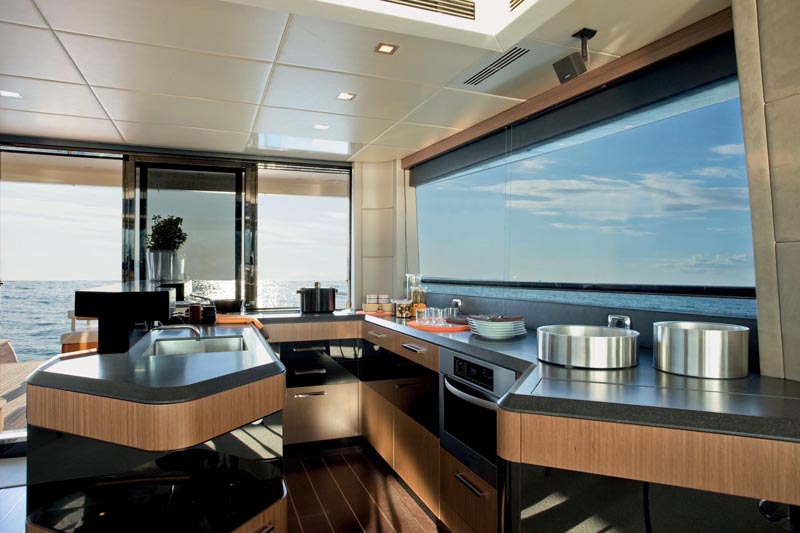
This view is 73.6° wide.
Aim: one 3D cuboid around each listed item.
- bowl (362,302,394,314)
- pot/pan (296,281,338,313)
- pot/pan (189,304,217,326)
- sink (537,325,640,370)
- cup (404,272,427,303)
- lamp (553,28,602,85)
[{"bbox_3d":[-0.209,0.412,5.153,0.293,0.104,0.263,-1,0,-4],"label":"bowl"},{"bbox_3d":[-0.811,0.316,5.231,0.375,0.276,0.260,0,-2,-18],"label":"pot/pan"},{"bbox_3d":[-1.627,0.399,4.393,0.195,0.185,0.153,-1,0,-26],"label":"pot/pan"},{"bbox_3d":[1.050,0.443,2.974,0.501,0.201,0.465,-1,0,29],"label":"sink"},{"bbox_3d":[0.145,0.214,5.124,0.206,0.265,0.377,-1,0,2],"label":"cup"},{"bbox_3d":[1.059,-1.224,3.110,0.144,0.229,0.235,-41,28,-21],"label":"lamp"}]
